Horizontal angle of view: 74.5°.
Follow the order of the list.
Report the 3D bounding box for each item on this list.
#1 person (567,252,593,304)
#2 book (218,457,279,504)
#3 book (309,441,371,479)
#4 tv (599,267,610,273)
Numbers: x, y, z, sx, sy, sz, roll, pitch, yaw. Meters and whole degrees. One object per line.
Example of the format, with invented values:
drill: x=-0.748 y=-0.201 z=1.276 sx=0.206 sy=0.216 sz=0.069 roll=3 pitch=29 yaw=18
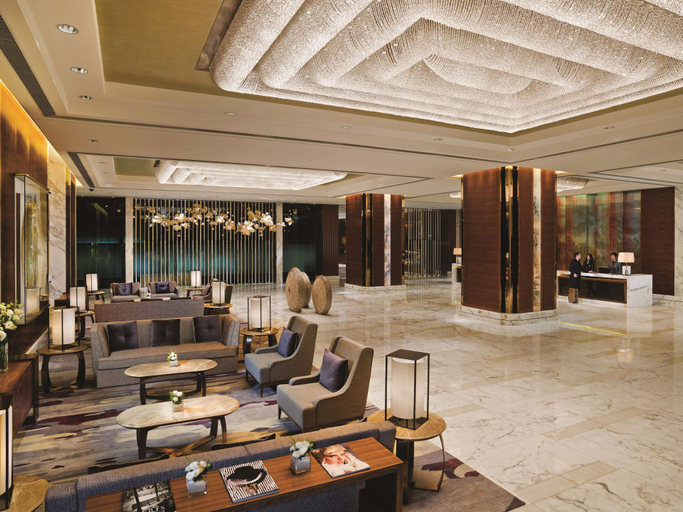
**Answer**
person: x=7.965 y=0.728 z=15.273 sx=0.377 sy=1.665 sz=0.879 roll=3 pitch=7 yaw=27
book: x=-0.744 y=1.786 z=3.582 sx=0.365 sy=0.095 sz=0.448 roll=-3 pitch=6 yaw=-28
book: x=-0.018 y=1.723 z=3.767 sx=0.291 sy=0.024 sz=0.333 roll=-3 pitch=6 yaw=-23
tv: x=9.339 y=0.495 z=15.857 sx=0.188 sy=0.117 sz=0.188 roll=-3 pitch=-1 yaw=-24
